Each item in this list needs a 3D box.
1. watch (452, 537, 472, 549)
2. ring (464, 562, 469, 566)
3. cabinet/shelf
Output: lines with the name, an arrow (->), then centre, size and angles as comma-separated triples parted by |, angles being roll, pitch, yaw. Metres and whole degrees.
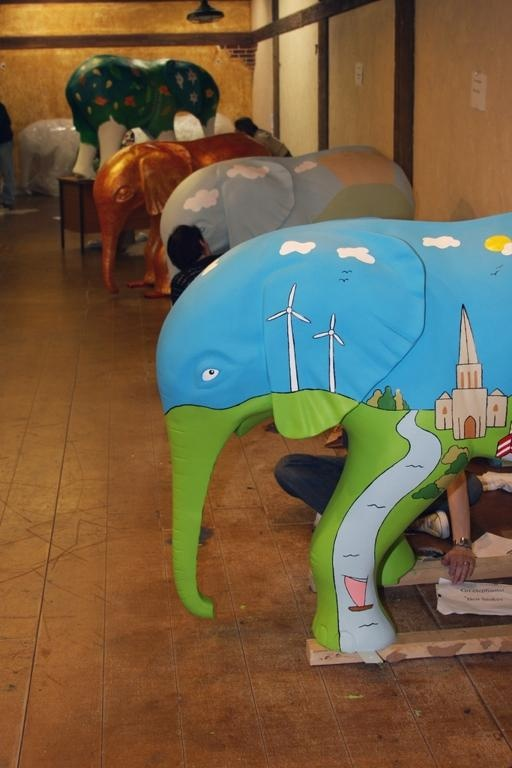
watch -> 0.464, 0.353, 1.450 | 0.038, 0.028, 0.039 | 1, 13, 10
ring -> 0.453, 0.379, 1.391 | 0.007, 0.009, 0.007 | -7, 6, 1
cabinet/shelf -> -1.613, -1.534, 5.889 | 0.337, 0.671, 0.717 | -5, 14, -16
